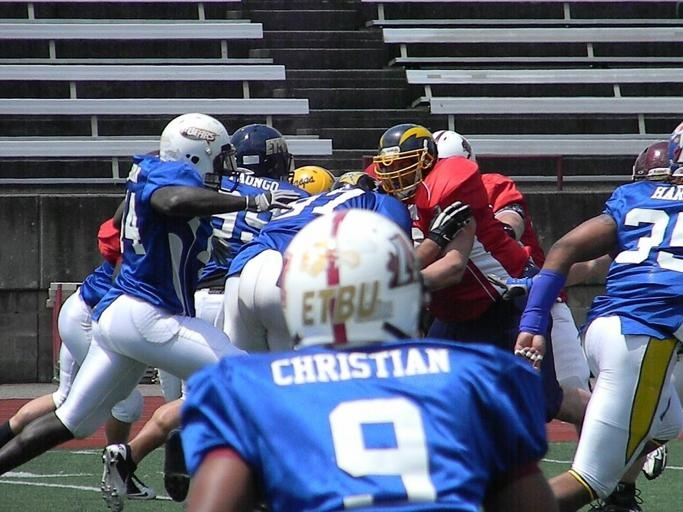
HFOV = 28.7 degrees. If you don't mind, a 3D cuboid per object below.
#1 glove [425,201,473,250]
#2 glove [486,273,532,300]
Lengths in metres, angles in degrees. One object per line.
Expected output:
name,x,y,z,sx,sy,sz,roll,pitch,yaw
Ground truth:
glove,0.825,-0.263,10.359,0.258,0.393,0.180,44,-3,-19
glove,1.334,0.239,10.517,0.260,0.069,0.242,1,12,-24
